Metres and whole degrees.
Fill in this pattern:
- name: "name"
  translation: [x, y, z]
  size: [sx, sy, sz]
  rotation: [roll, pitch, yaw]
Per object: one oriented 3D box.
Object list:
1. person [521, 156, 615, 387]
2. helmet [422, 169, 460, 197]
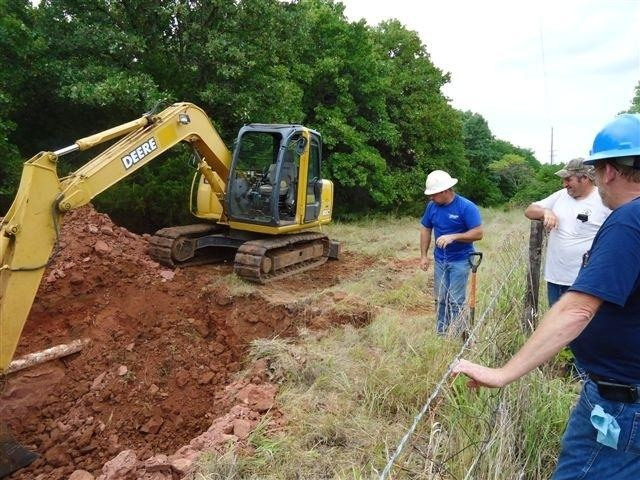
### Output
- name: "person"
  translation: [2.810, 0.271, 5.497]
  size: [0.641, 2.368, 0.950]
  rotation: [-6, 14, -24]
- name: "helmet"
  translation: [1.453, -0.703, 5.845]
  size: [0.294, 0.178, 0.355]
  rotation: [4, 40, 50]
